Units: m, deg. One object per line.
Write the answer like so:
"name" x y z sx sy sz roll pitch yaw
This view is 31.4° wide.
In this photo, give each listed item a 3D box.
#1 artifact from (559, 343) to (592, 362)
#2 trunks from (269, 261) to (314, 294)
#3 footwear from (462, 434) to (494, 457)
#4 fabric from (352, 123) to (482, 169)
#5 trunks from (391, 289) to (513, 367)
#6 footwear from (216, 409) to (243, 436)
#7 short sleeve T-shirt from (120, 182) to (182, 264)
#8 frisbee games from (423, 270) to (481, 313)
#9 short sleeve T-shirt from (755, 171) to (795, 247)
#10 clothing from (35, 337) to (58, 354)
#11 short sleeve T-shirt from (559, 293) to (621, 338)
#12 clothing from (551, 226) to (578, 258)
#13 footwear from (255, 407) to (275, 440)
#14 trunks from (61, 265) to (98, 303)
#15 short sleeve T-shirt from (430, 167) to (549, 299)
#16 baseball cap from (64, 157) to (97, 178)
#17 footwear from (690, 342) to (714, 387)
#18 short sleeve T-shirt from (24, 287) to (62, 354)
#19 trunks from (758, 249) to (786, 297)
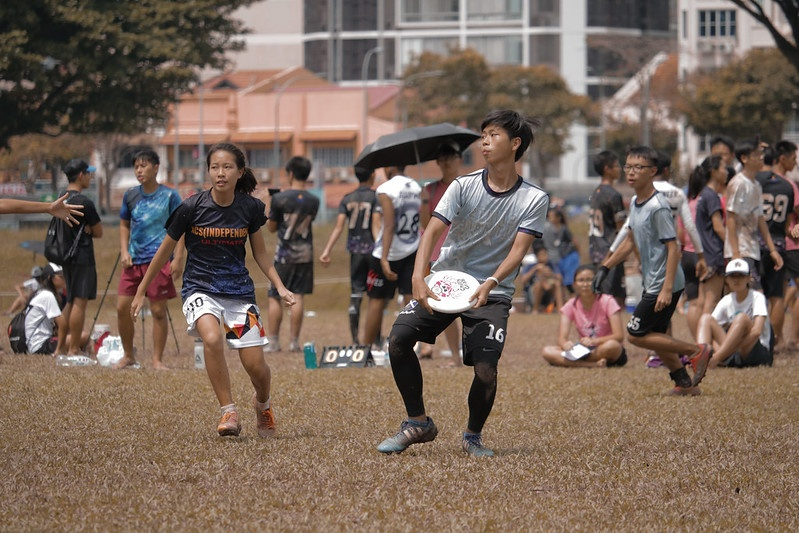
"artifact" 2.227 1.087 17.911 0.241 0.058 0.243 -34 45 -11
"trunks" -1.480 0.150 19.483 0.652 0.674 0.389 1 1 -12
"footwear" 0.801 1.815 14.463 0.333 0.191 0.219 2 15 5
"fabric" 0.181 -1.553 18.024 1.342 0.255 1.398 -17 -12 30
"trunks" 0.315 0.741 14.765 1.386 0.397 1.291 -16 8 -23
"footwear" -1.776 1.657 14.836 0.236 0.293 0.200 -2 15 -8
"short sleeve T-shirt" -3.116 -0.543 17.751 0.763 0.954 0.345 5 21 -2
"frisbee games" 0.549 0.253 14.403 0.420 0.088 0.434 -16 46 -12
"short sleeve T-shirt" 4.855 -0.747 18.507 0.784 1.008 0.356 6 18 31
"clothing" -4.528 1.038 18.319 0.236 0.200 0.098 -35 14 -19
"short sleeve T-shirt" 2.488 0.632 18.383 0.882 0.910 0.487 -1 0 17
"clothing" 2.810 -0.411 24.533 0.510 0.578 0.323 -3 4 14
"footwear" -1.405 1.648 14.982 0.132 0.388 0.146 -7 -2 -9
"trunks" -4.071 0.218 18.092 0.281 0.527 0.367 10 -20 -35
"short sleeve T-shirt" 0.876 -0.279 14.661 1.119 1.341 0.620 10 -17 5
"baseball cap" -4.038 -1.261 18.019 0.315 0.184 0.206 -24 29 -25
"footwear" 3.445 1.120 16.333 0.265 0.552 0.180 10 -4 -7
"short sleeve T-shirt" -4.583 0.727 18.323 0.359 0.737 0.707 3 -8 -26
"trunks" 4.892 0.123 18.661 0.329 0.648 0.471 -2 -9 21
